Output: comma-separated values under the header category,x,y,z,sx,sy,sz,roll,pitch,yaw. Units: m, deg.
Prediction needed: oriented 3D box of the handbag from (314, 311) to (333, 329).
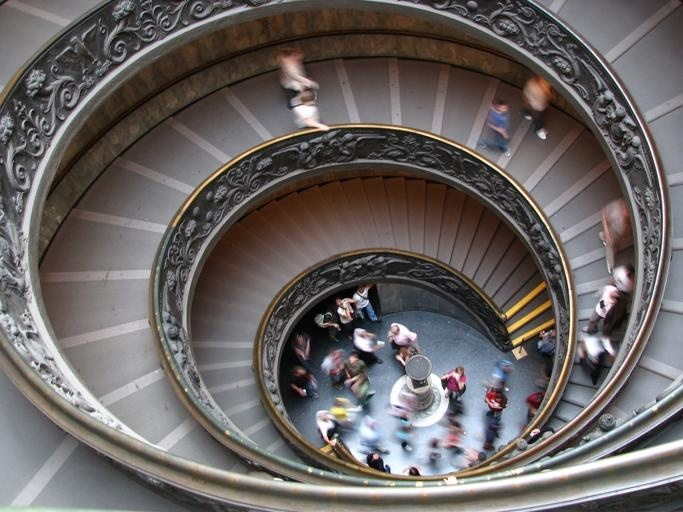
category,x,y,z,sx,sy,sz,roll,pitch,yaw
handbag,-0.520,1.796,14.803,0.483,0.245,0.399,-13,-75,5

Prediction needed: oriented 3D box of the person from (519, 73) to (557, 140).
category,x,y,z,sx,sy,sz,roll,pitch,yaw
person,4.412,-3.300,11.562,0.515,1.546,0.522,-37,-102,14

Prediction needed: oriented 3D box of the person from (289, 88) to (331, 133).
category,x,y,z,sx,sy,sz,roll,pitch,yaw
person,-0.762,-3.360,11.974,0.313,1.121,1.090,-8,-90,9
